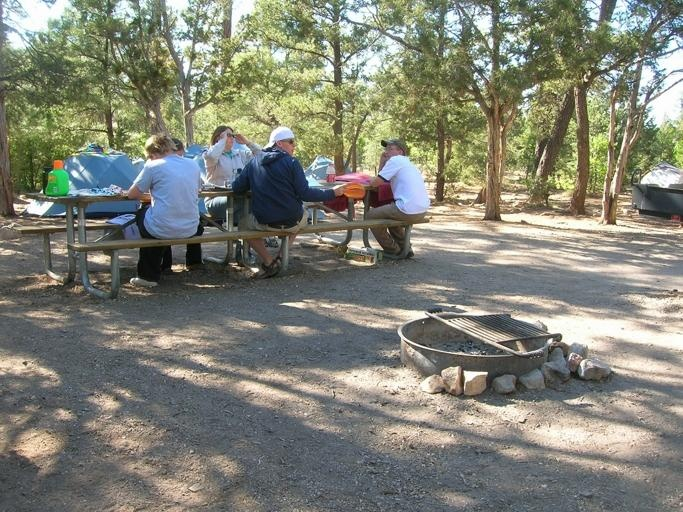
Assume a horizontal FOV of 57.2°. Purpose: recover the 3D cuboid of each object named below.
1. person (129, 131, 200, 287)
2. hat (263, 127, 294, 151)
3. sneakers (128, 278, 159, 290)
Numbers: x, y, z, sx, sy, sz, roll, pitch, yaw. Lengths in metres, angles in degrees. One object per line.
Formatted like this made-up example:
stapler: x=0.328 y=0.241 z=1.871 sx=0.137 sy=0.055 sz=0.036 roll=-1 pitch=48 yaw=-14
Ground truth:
person: x=-2.038 y=-0.536 z=7.347 sx=0.803 sy=1.757 sz=0.976 roll=0 pitch=7 yaw=-12
hat: x=-0.775 y=-1.470 z=7.798 sx=0.394 sy=0.258 sz=0.260 roll=-10 pitch=16 yaw=-9
sneakers: x=-2.271 y=0.313 z=7.218 sx=0.312 sy=0.113 sz=0.117 roll=9 pitch=12 yaw=-13
